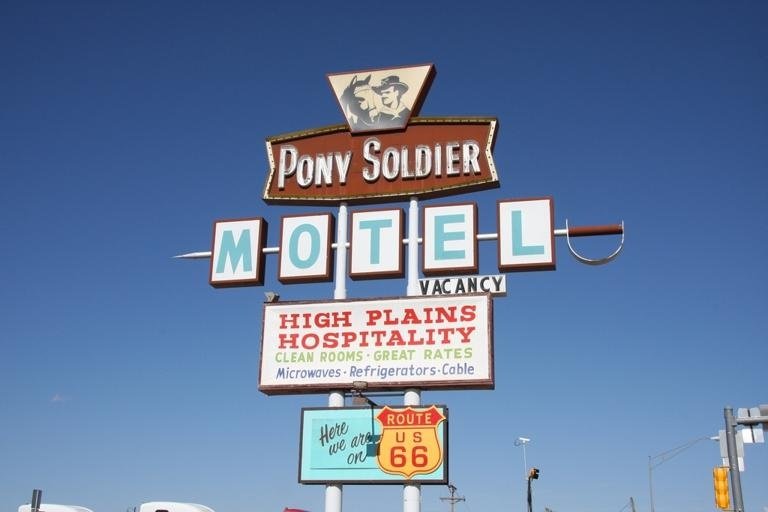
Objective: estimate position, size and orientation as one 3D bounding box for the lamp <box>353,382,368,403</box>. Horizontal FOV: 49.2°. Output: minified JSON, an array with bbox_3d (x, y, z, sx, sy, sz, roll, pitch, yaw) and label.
[{"bbox_3d":[-0.909,5.184,31.777,0.571,0.716,0.784,0,-29,-3],"label":"lamp"}]
